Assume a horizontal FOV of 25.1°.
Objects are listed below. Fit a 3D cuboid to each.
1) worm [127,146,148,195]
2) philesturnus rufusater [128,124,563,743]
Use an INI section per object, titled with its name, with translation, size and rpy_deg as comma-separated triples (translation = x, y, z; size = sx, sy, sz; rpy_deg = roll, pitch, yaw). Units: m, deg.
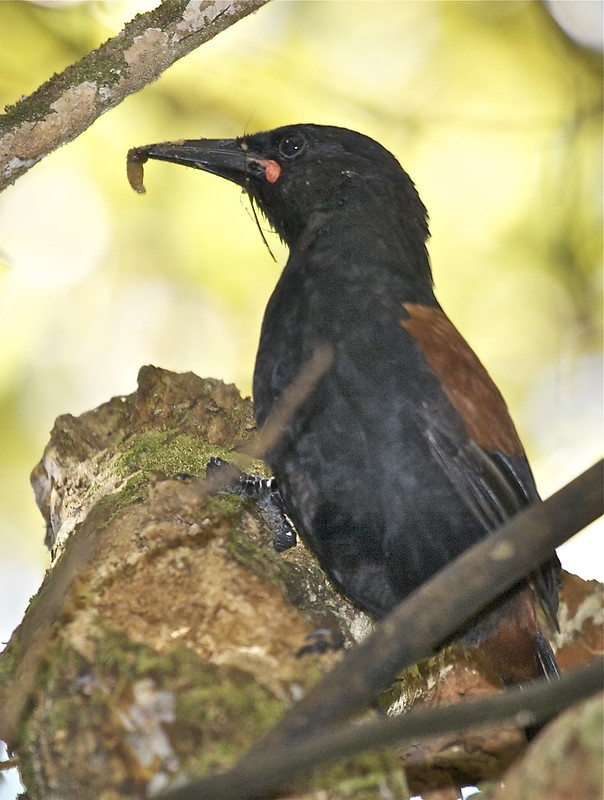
[worm]
translation = -0.302, -0.411, 2.449
size = 0.047, 0.077, 0.020
rpy_deg = 5, -13, -39
[philesturnus rufusater]
translation = 0.095, -0.120, 2.510
size = 0.460, 1.209, 0.493
rpy_deg = -15, -43, 7
